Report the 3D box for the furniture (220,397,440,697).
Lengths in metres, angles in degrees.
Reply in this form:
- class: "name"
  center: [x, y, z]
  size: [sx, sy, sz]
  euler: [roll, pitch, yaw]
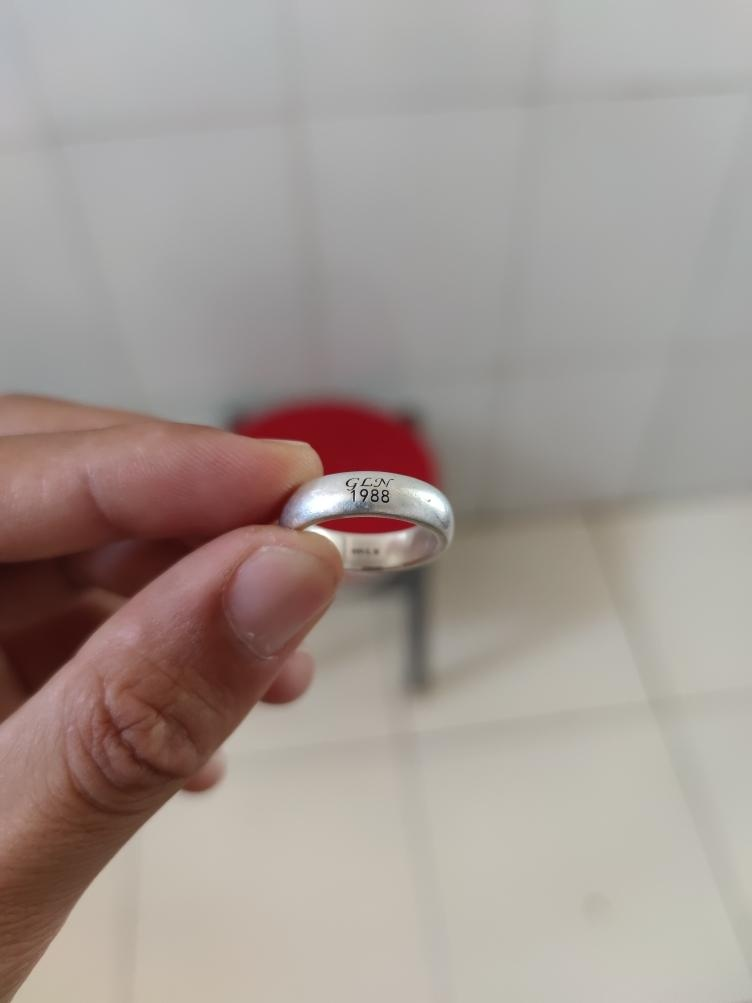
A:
- class: "furniture"
  center: [-0.030, 0.046, 0.975]
  size: [0.284, 0.373, 0.266]
  euler: [0, 87, 9]
